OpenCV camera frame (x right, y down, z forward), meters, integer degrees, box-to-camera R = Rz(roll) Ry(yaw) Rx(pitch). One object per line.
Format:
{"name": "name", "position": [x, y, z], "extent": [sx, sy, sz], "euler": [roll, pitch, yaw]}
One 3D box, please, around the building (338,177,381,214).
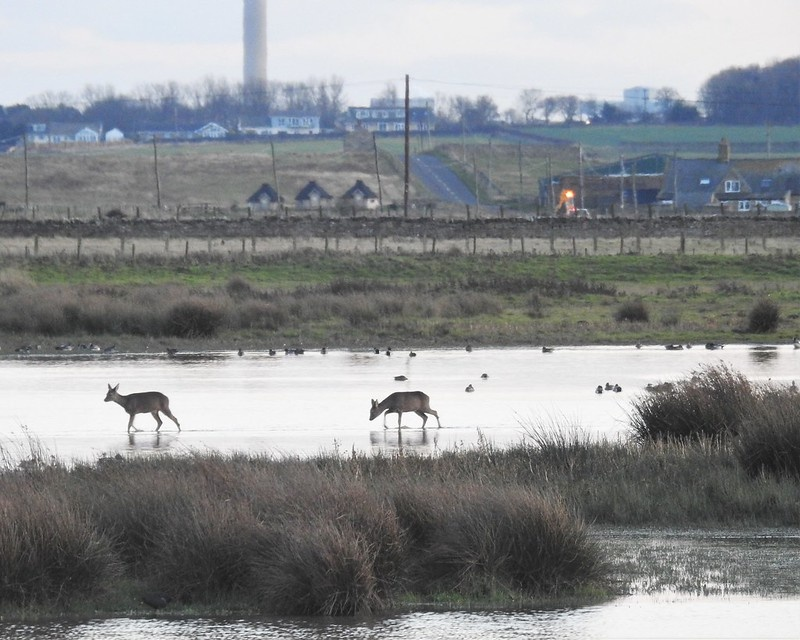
{"name": "building", "position": [-3.217, -10.611, 181.639], "extent": [3.108, 1.731, 11.675], "euler": [1, 13, -1]}

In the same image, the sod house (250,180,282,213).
{"name": "sod house", "position": [-10.786, -9.892, 174.247], "extent": [2.811, 2.236, 2.647], "euler": [-1, 4, -3]}

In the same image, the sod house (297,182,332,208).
{"name": "sod house", "position": [-7.076, -10.304, 178.768], "extent": [2.852, 2.058, 2.954], "euler": [-1, 5, -10]}
